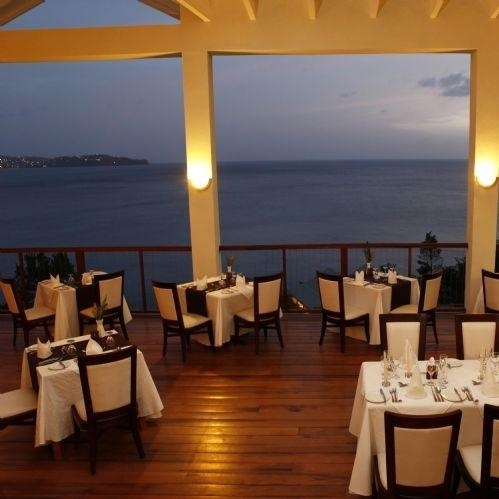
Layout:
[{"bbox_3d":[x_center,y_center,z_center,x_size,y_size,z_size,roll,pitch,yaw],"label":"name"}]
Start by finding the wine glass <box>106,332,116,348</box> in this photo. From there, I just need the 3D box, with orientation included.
[{"bbox_3d":[-1.389,0.924,4.826,0.086,0.189,0.102,0,0,-6],"label":"wine glass"}]

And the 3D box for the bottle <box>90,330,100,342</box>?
[{"bbox_3d":[-1.625,0.917,5.041,0.075,0.165,0.143,0,-3,1],"label":"bottle"}]
